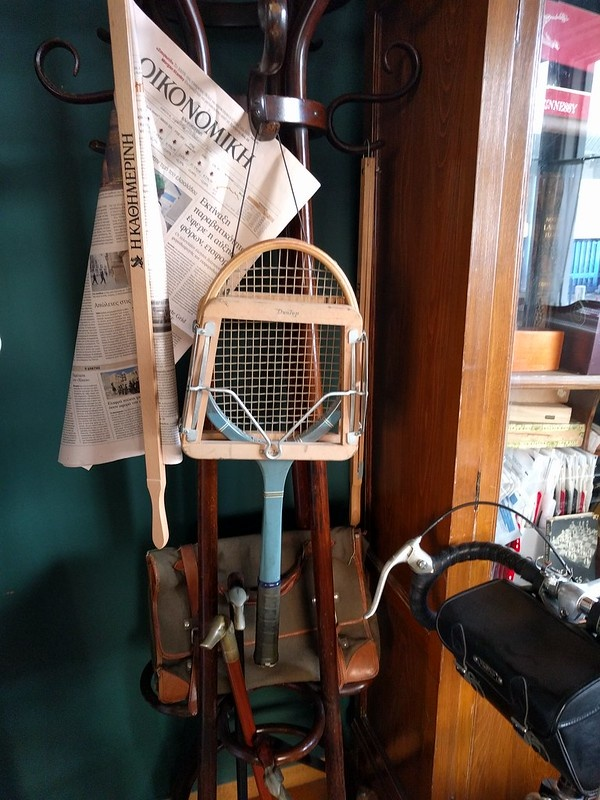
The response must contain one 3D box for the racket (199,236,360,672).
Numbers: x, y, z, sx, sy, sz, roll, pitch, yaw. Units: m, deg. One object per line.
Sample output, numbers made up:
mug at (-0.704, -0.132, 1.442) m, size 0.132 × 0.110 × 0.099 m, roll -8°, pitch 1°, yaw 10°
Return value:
racket at (-0.049, 0.122, 1.017) m, size 0.274 × 0.729 × 0.108 m, roll -4°, pitch 6°, yaw -19°
